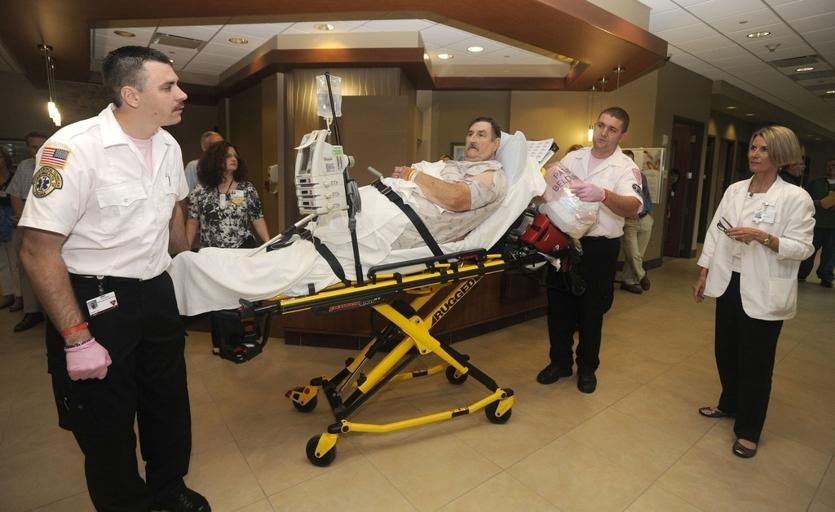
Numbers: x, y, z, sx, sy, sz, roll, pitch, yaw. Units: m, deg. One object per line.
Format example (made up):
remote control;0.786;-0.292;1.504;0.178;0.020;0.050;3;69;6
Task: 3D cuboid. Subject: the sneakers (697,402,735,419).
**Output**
sneakers;2.680;1.364;4.833;0.290;0.088;0.116;4;12;14

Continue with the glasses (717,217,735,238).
glasses;2.606;-0.244;4.505;0.127;0.168;0.054;-35;-9;-8

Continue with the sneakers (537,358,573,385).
sneakers;1.329;1.102;5.283;0.434;0.186;0.157;-7;14;-25

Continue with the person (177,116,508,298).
person;-0.445;-0.309;4.461;2.455;0.986;1.108;-16;41;-6

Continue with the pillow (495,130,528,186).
pillow;0.824;-0.819;4.644;0.113;0.428;0.341;7;25;-28

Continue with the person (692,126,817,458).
person;2.842;0.264;4.513;0.709;2.587;0.811;-6;15;-10

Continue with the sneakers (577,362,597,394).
sneakers;1.613;1.154;5.095;0.142;0.117;0.280;-2;20;6

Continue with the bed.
bed;-0.116;-0.129;5.623;4.011;3.019;1.778;-4;17;-16

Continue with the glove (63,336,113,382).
glove;-2.162;0.678;3.517;0.299;0.235;0.131;4;16;35

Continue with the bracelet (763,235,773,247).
bracelet;2.813;-0.122;4.314;0.043;0.077;0.076;6;12;3

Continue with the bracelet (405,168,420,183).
bracelet;-0.035;-0.664;4.431;0.080;0.108;0.109;15;38;-1

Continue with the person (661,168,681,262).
person;4.819;-0.783;10.150;0.219;1.708;0.707;4;17;25
